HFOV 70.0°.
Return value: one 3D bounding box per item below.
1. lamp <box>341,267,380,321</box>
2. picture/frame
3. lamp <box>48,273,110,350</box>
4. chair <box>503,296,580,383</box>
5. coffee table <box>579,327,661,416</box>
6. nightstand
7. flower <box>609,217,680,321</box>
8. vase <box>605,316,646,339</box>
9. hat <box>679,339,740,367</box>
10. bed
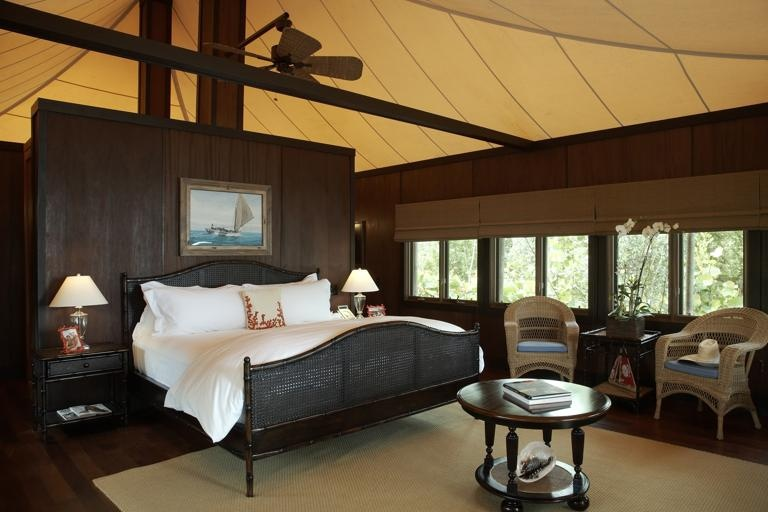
[{"bbox_3d":[-0.360,0.573,8.055,0.605,0.761,0.614,-2,-4,19],"label":"lamp"},{"bbox_3d":[-2.142,-0.522,7.215,1.093,0.933,0.046,0,2,-31],"label":"picture/frame"},{"bbox_3d":[-3.434,0.619,6.198,0.538,0.834,0.499,-2,2,-27],"label":"lamp"},{"bbox_3d":[2.202,1.207,7.714,0.990,1.221,0.961,-2,-3,17],"label":"chair"},{"bbox_3d":[3.091,1.439,7.126,0.800,0.878,0.717,2,3,43],"label":"coffee table"},{"bbox_3d":[-3.431,1.491,6.207,0.568,0.859,0.896,-2,-1,44],"label":"nightstand"},{"bbox_3d":[3.374,0.135,7.180,0.763,1.286,0.913,-1,2,24],"label":"flower"},{"bbox_3d":[3.030,0.857,6.867,0.311,0.201,0.326,0,-2,-14],"label":"vase"},{"bbox_3d":[3.648,1.109,6.341,0.405,0.269,0.404,-1,2,29],"label":"hat"},{"bbox_3d":[-1.049,1.323,6.506,2.664,1.710,2.653,-1,0,-42],"label":"bed"}]
